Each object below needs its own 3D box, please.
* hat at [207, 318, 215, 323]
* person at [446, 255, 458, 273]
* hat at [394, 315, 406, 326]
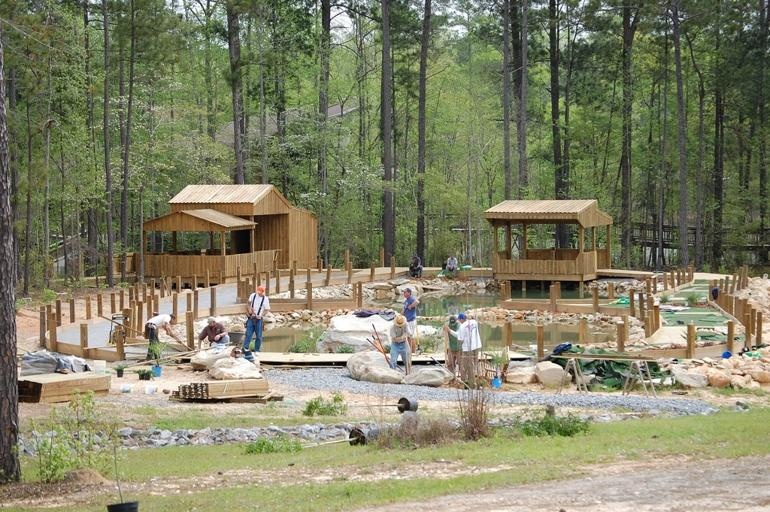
[{"bbox_3d":[-8.776,3.257,74.283,0.197,0.307,0.610,0,-4,-27],"label":"hat"},{"bbox_3d":[4.589,0.544,98.744,1.092,1.574,0.952,1,1,2],"label":"person"},{"bbox_3d":[0.807,3.152,72.352,0.598,0.491,0.372,0,-4,-25],"label":"hat"}]
